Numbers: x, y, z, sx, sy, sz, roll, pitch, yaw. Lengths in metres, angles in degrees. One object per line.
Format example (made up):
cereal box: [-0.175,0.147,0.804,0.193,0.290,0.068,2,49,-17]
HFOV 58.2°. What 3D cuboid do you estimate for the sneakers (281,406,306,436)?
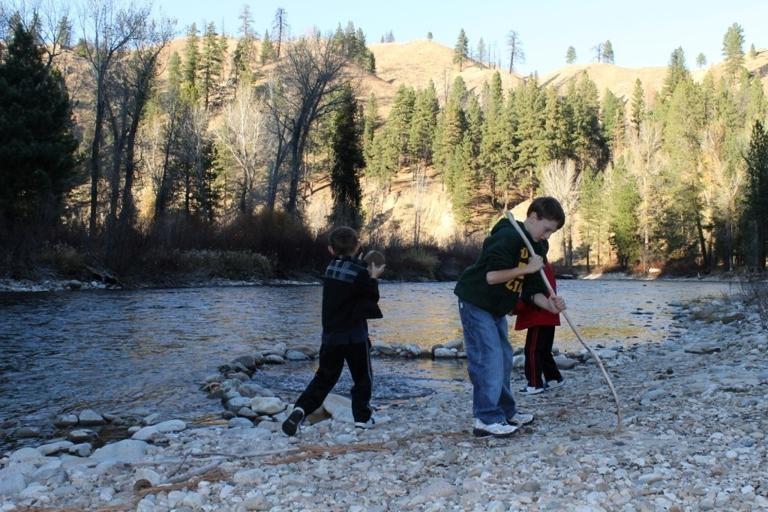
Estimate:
sneakers: [-1.226,2.301,9.552,0.235,0.430,0.185,25,-16,28]

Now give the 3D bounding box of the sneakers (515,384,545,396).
sneakers: [2.248,2.085,10.664,0.452,0.196,0.168,1,0,15]

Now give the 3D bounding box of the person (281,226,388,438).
person: [-0.655,1.031,9.723,1.400,2.799,0.815,-4,12,-13]
